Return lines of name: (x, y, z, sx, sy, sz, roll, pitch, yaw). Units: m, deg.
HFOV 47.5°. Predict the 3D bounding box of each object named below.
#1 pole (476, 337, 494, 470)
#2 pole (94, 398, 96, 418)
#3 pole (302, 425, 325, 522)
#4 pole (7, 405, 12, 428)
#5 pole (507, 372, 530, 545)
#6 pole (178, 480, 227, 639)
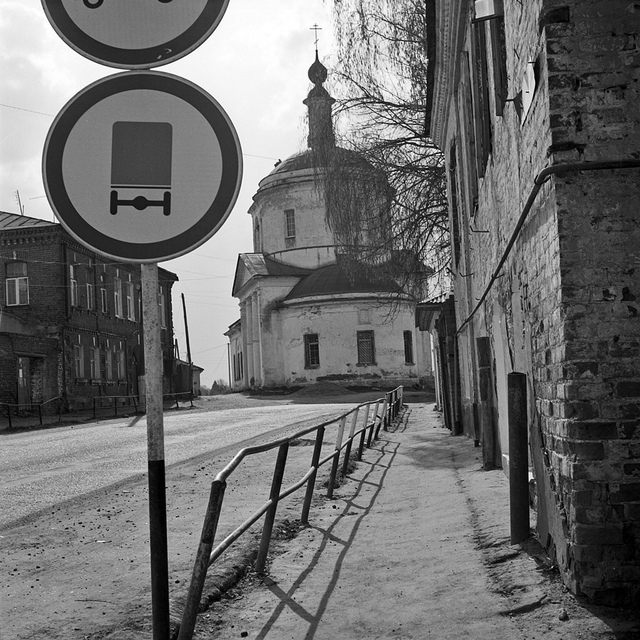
pole: (2.148, 1.066, 9.487, 0.161, 1.925, 0.198, -6, 24, 4)
pole: (-10.045, 3.886, 32.382, 0.050, 0.824, 2.506, -1, -5, -17)
pole: (-0.076, 1.565, 7.587, 0.250, 0.955, 0.726, -2, -3, -2)
pole: (-11.662, 3.596, 27.326, 0.103, 0.812, 2.526, -1, -5, -23)
pole: (1.423, 0.996, 5.219, 0.149, 1.225, 0.234, -3, -3, 16)
pole: (-0.656, 1.322, 4.018, 0.288, 0.868, 0.280, -3, -3, 26)
